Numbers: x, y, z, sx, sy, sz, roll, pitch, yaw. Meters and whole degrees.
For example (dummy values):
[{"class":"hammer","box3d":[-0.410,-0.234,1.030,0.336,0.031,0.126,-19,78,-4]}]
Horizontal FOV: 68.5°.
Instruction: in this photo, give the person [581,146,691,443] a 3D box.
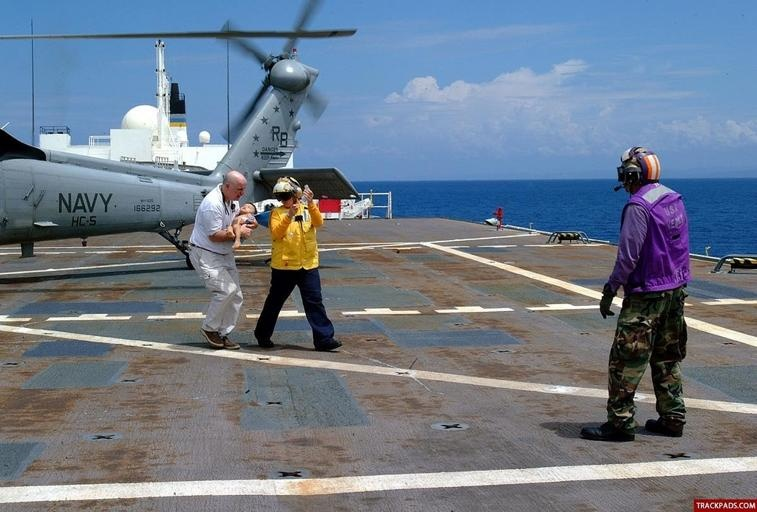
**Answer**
[{"class":"person","box3d":[2.731,0.389,5.640,0.907,2.958,0.868,6,11,27]}]

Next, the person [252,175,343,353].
[{"class":"person","box3d":[-1.311,0.127,8.740,1.322,2.686,0.920,-1,10,-7]}]

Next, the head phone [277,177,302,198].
[{"class":"head phone","box3d":[-1.360,-1.028,8.422,0.401,0.228,0.368,1,11,9]}]

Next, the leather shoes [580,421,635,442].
[{"class":"leather shoes","box3d":[2.323,1.785,5.708,0.630,0.170,0.189,2,-3,7]}]

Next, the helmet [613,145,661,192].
[{"class":"helmet","box3d":[2.798,-0.915,5.882,0.481,0.342,0.486,-5,8,-19]}]

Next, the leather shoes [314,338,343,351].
[{"class":"leather shoes","box3d":[-0.773,1.386,8.651,0.552,0.166,0.165,-2,6,2]}]

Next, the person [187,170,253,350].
[{"class":"person","box3d":[-2.429,0.091,8.556,0.899,2.741,0.584,-2,10,-15]}]

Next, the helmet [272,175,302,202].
[{"class":"helmet","box3d":[-1.378,-1.023,8.457,0.468,0.305,0.408,-1,28,3]}]
